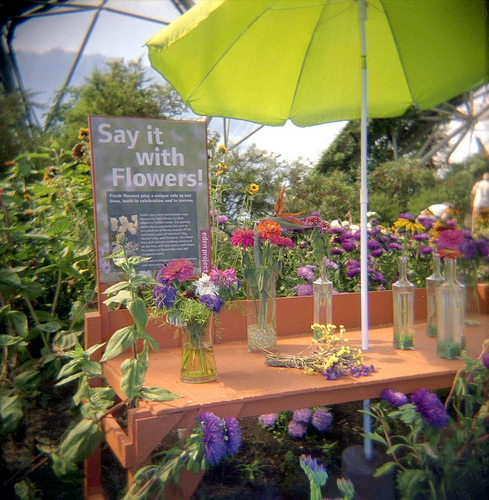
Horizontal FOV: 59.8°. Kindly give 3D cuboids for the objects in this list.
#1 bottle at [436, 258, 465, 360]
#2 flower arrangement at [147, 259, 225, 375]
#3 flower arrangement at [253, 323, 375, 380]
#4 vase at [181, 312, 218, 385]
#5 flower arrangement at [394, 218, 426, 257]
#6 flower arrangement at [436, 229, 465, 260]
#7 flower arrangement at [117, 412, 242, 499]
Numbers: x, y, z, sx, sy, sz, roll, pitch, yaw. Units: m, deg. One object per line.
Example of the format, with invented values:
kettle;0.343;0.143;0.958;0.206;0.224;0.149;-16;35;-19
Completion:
bottle;0.717;0.205;1.492;0.113;0.368;0.087;-6;3;23
flower arrangement;-0.141;0.202;1.296;0.200;0.287;0.224;5;-21;-19
flower arrangement;0.269;0.328;1.425;0.285;0.124;0.176;7;-13;1
vase;-0.146;0.298;1.279;0.106;0.190;0.055;-8;3;-10
flower arrangement;0.649;-0.066;1.752;0.157;0.160;0.157;10;16;22
flower arrangement;0.695;-0.024;1.429;0.100;0.102;0.098;0;4;-17
flower arrangement;-0.142;0.500;1.126;0.359;0.159;0.184;-28;-42;2
